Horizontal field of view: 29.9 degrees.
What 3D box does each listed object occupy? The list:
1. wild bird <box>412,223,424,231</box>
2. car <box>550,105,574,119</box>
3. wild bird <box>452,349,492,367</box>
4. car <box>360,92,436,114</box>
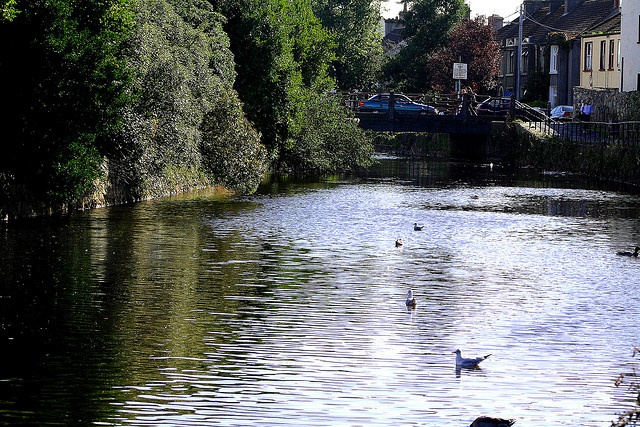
[{"bbox_3d":[3.849,0.515,46.390,0.400,0.285,0.234,4,-3,-33],"label":"wild bird"},{"bbox_3d":[18.626,-7.654,91.188,1.561,1.039,3.318,0,8,-1],"label":"car"},{"bbox_3d":[3.899,3.675,30.527,1.002,0.576,0.351,-3,-1,3],"label":"wild bird"},{"bbox_3d":[5.491,-7.642,86.728,5.064,1.482,2.230,1,7,4],"label":"car"}]
